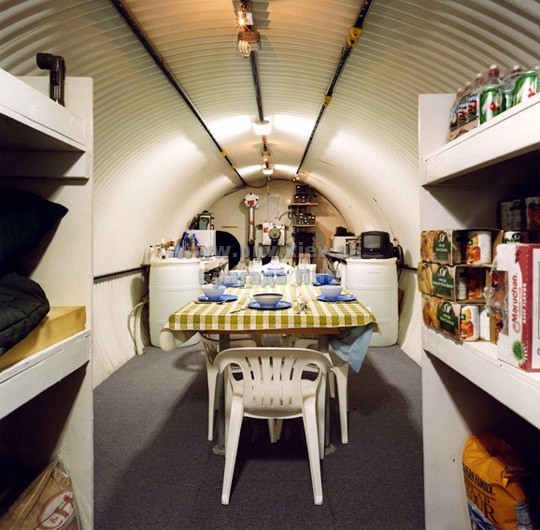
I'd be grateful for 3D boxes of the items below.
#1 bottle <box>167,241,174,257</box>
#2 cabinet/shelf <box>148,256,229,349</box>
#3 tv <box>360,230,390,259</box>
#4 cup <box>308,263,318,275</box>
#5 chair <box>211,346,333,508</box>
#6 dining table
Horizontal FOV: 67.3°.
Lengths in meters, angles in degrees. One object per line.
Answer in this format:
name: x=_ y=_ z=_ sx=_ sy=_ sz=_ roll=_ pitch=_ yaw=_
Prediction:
bottle: x=-1.438 y=-0.241 z=5.854 sx=0.100 sy=0.216 sz=0.605 roll=-2 pitch=6 yaw=-14
cabinet/shelf: x=-0.987 y=0.308 z=5.364 sx=0.528 sy=1.123 sz=1.586 roll=0 pitch=0 yaw=1
tv: x=1.286 y=-0.233 z=4.961 sx=0.264 sy=0.350 sz=0.330 roll=-1 pitch=-4 yaw=13
cup: x=0.516 y=0.057 z=4.840 sx=0.102 sy=0.144 sz=0.116 roll=0 pitch=6 yaw=16
chair: x=0.038 y=0.798 z=2.516 sx=0.670 sy=1.176 sz=0.772 roll=0 pitch=12 yaw=2
dining table: x=0.044 y=0.396 z=3.122 sx=1.365 sy=0.491 sz=1.379 roll=0 pitch=6 yaw=5
